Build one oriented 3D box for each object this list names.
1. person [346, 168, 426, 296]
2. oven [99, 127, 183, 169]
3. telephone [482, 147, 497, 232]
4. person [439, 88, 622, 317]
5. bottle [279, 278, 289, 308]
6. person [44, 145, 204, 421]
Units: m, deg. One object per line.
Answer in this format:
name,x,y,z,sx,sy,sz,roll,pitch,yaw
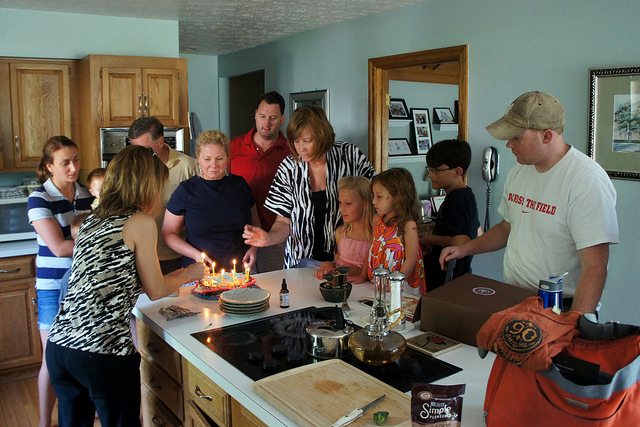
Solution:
person,0.450,0.138,3.155,0.481,0.854,0.478,0,12,12
oven,-1.914,-0.609,5.159,0.874,0.553,0.437,-4,-10,-9
telephone,1.540,-0.214,4.270,0.123,0.761,0.078,1,12,18
person,1.174,-0.102,2.527,0.409,1.078,0.756,-14,16,-42
bottle,-0.207,0.455,2.677,0.057,0.143,0.110,-4,12,-6
person,-1.085,0.408,2.524,0.769,1.503,0.331,-10,14,-31
